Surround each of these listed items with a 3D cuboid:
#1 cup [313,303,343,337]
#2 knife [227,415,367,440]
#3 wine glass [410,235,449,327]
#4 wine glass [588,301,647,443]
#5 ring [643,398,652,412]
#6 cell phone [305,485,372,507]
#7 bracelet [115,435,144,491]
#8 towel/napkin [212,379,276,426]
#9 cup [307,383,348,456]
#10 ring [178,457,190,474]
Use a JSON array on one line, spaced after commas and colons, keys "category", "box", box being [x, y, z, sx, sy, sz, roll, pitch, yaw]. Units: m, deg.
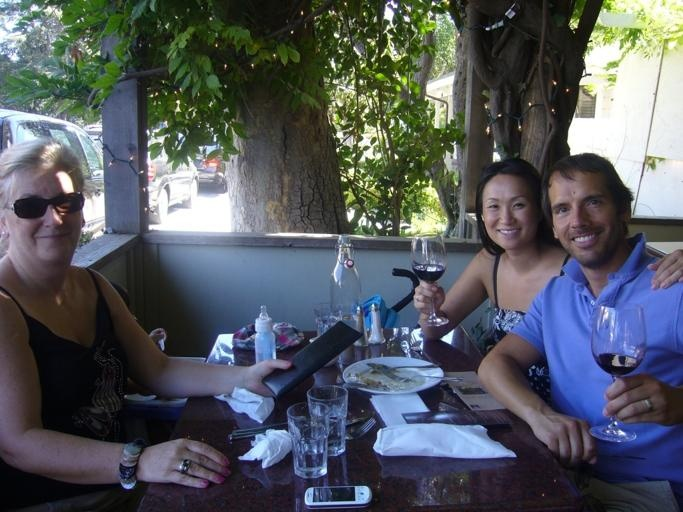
[{"category": "cup", "box": [-0.064, 0.282, 2.370, 0.121, 0.209, 0.136, 0, -7, -2]}, {"category": "knife", "box": [-0.126, 0.519, 1.615, 0.449, 0.039, 0.067, -4, -34, -15]}, {"category": "wine glass", "box": [0.398, 0.114, 2.432, 0.153, 0.421, 0.244, 0, 6, 12]}, {"category": "wine glass", "box": [0.874, 0.399, 1.726, 0.146, 0.506, 0.206, 2, 7, 27]}, {"category": "ring", "box": [0.904, 0.444, 1.599, 0.028, 0.030, 0.030, -1, -25, -1]}, {"category": "cell phone", "box": [-0.009, 0.636, 1.422, 0.121, 0.022, 0.068, 0, 9, 2]}, {"category": "bracelet", "box": [-0.630, 0.622, 1.620, 0.053, 0.133, 0.095, 0, 11, -35]}, {"category": "towel/napkin", "box": [-0.306, 0.492, 1.798, 0.116, 0.038, 0.100, 20, 31, 22]}, {"category": "cup", "box": [-0.034, 0.498, 1.668, 0.156, 0.258, 0.165, -1, 1, 0]}, {"category": "ring", "box": [-0.437, 0.594, 1.532, 0.023, 0.035, 0.037, 13, 19, 23]}]
